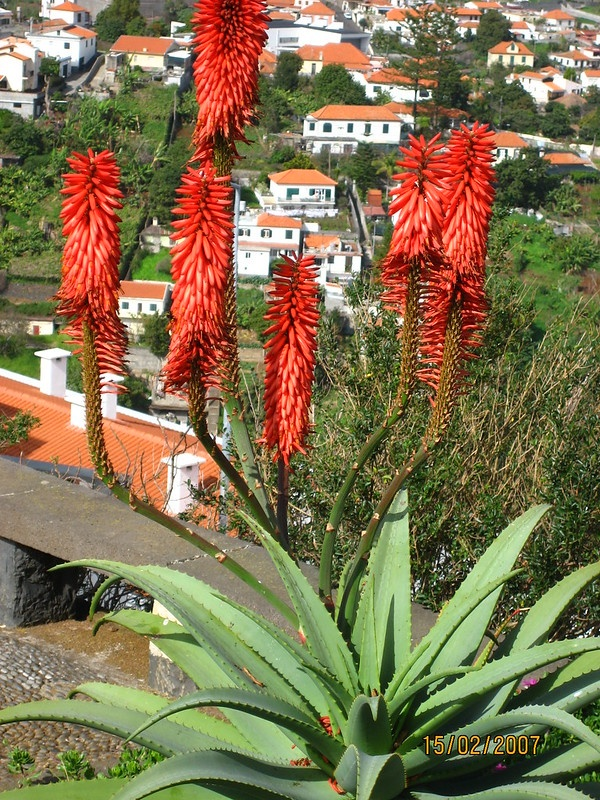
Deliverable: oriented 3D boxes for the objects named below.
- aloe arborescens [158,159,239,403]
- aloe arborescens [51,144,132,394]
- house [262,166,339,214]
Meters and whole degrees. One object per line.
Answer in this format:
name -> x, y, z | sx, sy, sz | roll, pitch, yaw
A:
aloe arborescens -> -0.329, -0.353, 4.610 | 0.197, 0.755, 0.287 | 6, 16, -5
aloe arborescens -> -0.672, -0.450, 4.712 | 0.250, 0.781, 0.324 | 4, 16, -10
house -> 0.081, -8.934, 61.252 | 2.345, 1.398, 2.300 | 1, 19, -2
